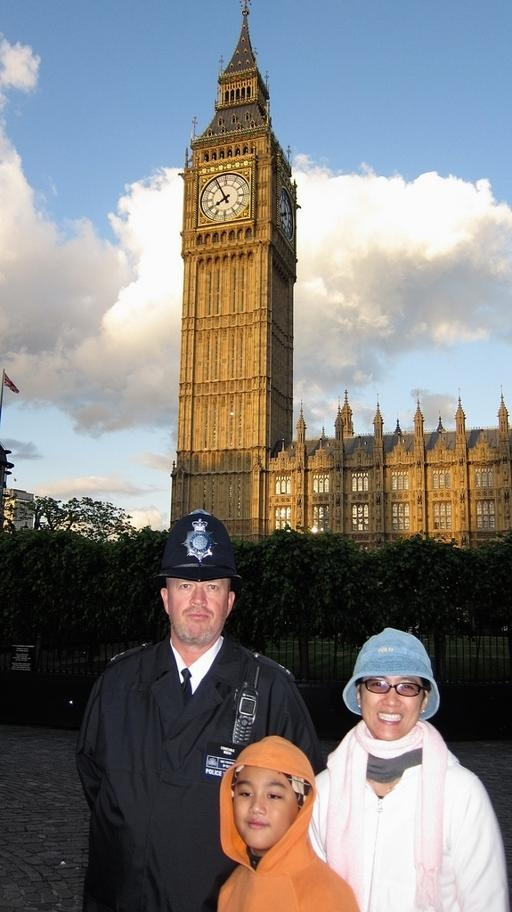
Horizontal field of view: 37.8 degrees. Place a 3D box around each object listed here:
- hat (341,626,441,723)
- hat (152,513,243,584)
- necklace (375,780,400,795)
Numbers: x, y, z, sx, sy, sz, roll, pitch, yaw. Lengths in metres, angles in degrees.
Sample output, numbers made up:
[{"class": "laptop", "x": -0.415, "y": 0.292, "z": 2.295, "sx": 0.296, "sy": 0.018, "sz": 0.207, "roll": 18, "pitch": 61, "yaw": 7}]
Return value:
[{"class": "hat", "x": 0.560, "y": 0.946, "z": 3.119, "sx": 0.325, "sy": 0.246, "sz": 0.452, "roll": 0, "pitch": -27, "yaw": 5}, {"class": "hat", "x": -0.257, "y": 0.425, "z": 3.414, "sx": 0.242, "sy": 0.269, "sz": 0.377, "roll": 2, "pitch": -13, "yaw": -1}, {"class": "necklace", "x": 0.498, "y": 1.291, "z": 2.920, "sx": 0.053, "sy": 0.043, "sz": 0.078, "roll": 11, "pitch": -15, "yaw": 5}]
